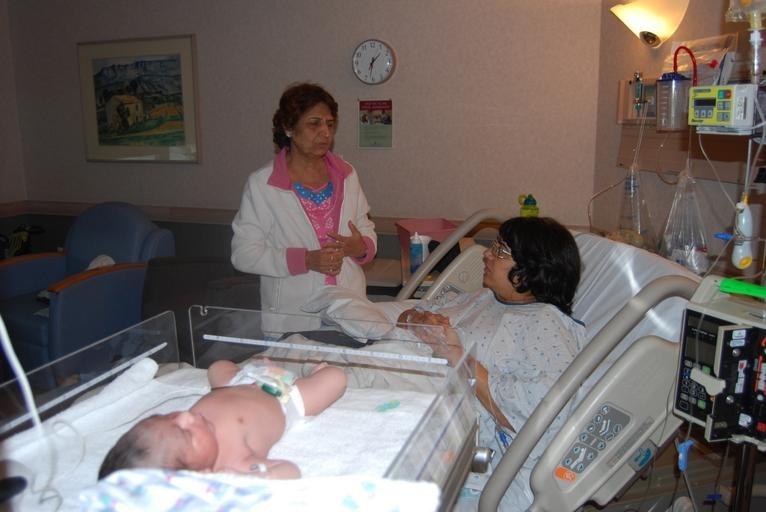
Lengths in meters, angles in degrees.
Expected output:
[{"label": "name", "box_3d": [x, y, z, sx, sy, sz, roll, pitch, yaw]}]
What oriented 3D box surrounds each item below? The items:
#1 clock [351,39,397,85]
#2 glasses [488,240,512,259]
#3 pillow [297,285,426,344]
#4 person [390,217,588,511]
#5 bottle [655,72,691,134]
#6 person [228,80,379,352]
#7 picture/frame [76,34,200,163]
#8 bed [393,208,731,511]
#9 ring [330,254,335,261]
[{"label": "clock", "box_3d": [-0.053, -1.475, 3.886, 0.325, 0.340, 0.114, -1, 7, 20]}, {"label": "glasses", "box_3d": [0.482, -0.024, 2.108, 0.070, 0.022, 0.070, 4, 17, -25]}, {"label": "pillow", "box_3d": [-0.114, 0.233, 2.084, 0.291, 0.108, 0.260, 6, 11, -45]}, {"label": "person", "box_3d": [0.556, 0.278, 2.169, 0.643, 0.750, 1.209, 16, 50, 43]}, {"label": "bottle", "box_3d": [1.406, -0.743, 2.489, 0.144, 0.266, 0.183, 5, 17, 28]}, {"label": "person", "box_3d": [-0.340, 0.071, 2.713, 0.772, 1.815, 0.608, -12, 24, -28]}, {"label": "picture/frame", "box_3d": [-2.136, -1.371, 4.543, 1.144, 1.010, 0.082, 1, 6, 13]}, {"label": "bed", "box_3d": [0.599, 0.313, 2.161, 1.203, 1.030, 0.898, -32, 43, -30]}, {"label": "ring", "box_3d": [-0.234, 0.007, 2.397, 0.018, 0.023, 0.008, -11, 17, -28]}]
